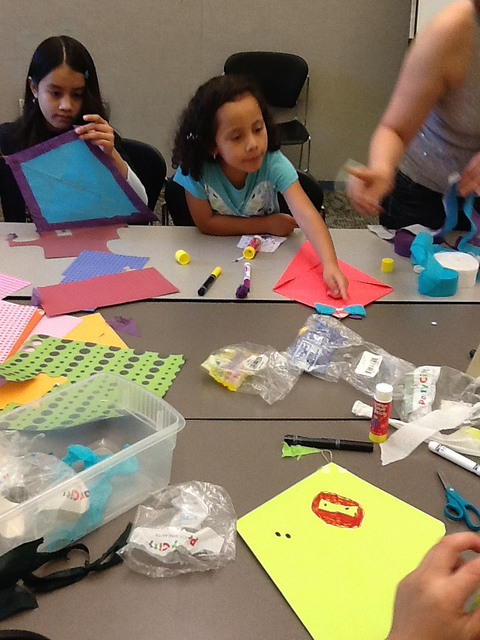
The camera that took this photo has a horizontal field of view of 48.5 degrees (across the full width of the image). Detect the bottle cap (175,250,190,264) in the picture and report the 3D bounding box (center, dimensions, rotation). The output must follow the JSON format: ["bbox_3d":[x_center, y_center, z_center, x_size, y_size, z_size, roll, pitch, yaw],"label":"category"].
[{"bbox_3d":[-0.148,-0.163,1.366,0.037,0.028,0.041,-2,28,-7],"label":"bottle cap"}]

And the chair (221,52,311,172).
[{"bbox_3d":[0.135,-1.150,3.279,0.622,0.896,0.651,3,34,1],"label":"chair"}]

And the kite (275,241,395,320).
[{"bbox_3d":[0.206,-0.100,1.283,0.270,0.024,0.340,-24,37,-38],"label":"kite"}]

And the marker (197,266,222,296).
[{"bbox_3d":[-0.076,-0.090,1.241,0.022,0.018,0.126,-4,24,10],"label":"marker"}]

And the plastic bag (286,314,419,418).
[{"bbox_3d":[0.206,0.049,1.012,0.236,0.044,0.162,5,40,24],"label":"plastic bag"}]

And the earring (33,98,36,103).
[{"bbox_3d":[-0.634,-0.675,1.640,0.002,0.014,0.020,-19,34,-35],"label":"earring"}]

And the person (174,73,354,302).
[{"bbox_3d":[0.104,-0.369,1.427,0.341,0.455,0.715,-27,39,-27],"label":"person"}]

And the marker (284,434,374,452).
[{"bbox_3d":[0.133,0.178,0.791,0.133,0.014,0.027,2,27,2],"label":"marker"}]

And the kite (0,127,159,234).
[{"bbox_3d":[-0.493,-0.406,1.570,0.327,0.296,0.047,-23,0,-18],"label":"kite"}]

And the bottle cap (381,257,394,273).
[{"bbox_3d":[0.362,-0.134,1.308,0.031,0.030,0.032,23,48,27],"label":"bottle cap"}]

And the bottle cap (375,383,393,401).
[{"bbox_3d":[0.209,0.103,0.780,0.022,0.017,0.023,-10,43,-12],"label":"bottle cap"}]
